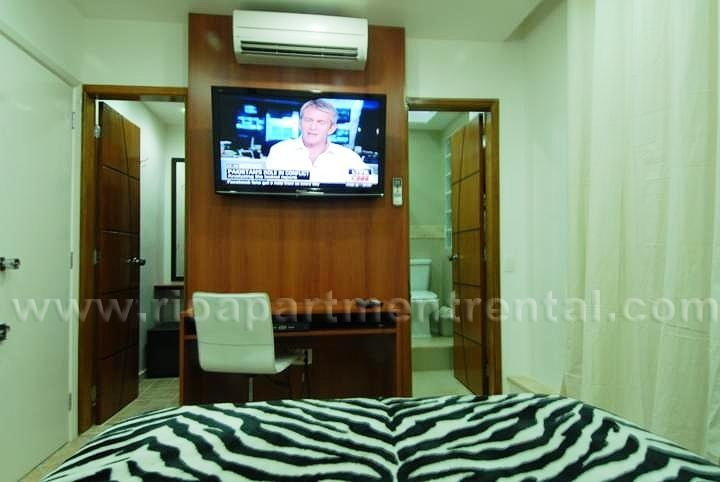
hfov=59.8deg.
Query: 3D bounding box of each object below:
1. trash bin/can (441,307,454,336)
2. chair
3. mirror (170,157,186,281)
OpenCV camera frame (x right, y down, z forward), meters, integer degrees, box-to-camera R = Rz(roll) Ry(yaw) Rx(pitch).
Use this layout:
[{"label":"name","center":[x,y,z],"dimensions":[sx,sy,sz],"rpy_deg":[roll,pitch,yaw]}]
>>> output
[{"label":"trash bin/can","center":[0.937,0.871,6.771],"dimensions":[0.124,0.318,0.372],"rpy_deg":[-1,-4,-3]},{"label":"chair","center":[-0.896,0.948,5.031],"dimensions":[0.720,1.197,0.817],"rpy_deg":[0,4,8]},{"label":"mirror","center":[-1.978,-0.235,6.758],"dimensions":[0.140,1.337,0.075],"rpy_deg":[2,-4,-34]}]
